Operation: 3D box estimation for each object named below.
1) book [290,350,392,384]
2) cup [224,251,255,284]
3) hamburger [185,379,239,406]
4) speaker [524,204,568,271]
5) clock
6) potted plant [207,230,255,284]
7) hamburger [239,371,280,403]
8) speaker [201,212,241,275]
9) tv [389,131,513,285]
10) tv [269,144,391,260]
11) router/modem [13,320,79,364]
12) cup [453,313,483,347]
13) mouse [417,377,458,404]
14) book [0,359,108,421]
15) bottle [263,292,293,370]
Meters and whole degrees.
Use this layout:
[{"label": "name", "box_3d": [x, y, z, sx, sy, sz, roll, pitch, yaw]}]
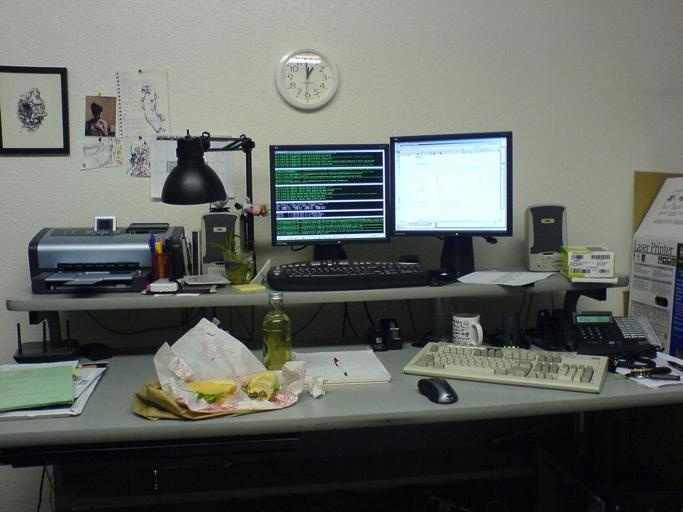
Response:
[{"label": "book", "box_3d": [-0.010, 0.396, 2.193, 0.313, 0.026, 0.334, -2, 12, -11]}, {"label": "cup", "box_3d": [-0.409, 0.050, 2.434, 0.116, 0.132, 0.117, 0, -4, 0]}, {"label": "hamburger", "box_3d": [-0.419, 0.426, 1.934, 0.156, 0.049, 0.135, -3, 12, -14]}, {"label": "speaker", "box_3d": [0.882, -0.063, 2.571, 0.162, 0.278, 0.164, -1, -10, 12]}, {"label": "clock", "box_3d": [-0.164, -0.762, 2.595, 0.265, 0.263, 0.032, 1, 1, -5]}, {"label": "potted plant", "box_3d": [-0.411, 0.003, 2.374, 0.187, 0.265, 0.190, -2, 1, -2]}, {"label": "hamburger", "box_3d": [-0.272, 0.421, 1.965, 0.133, 0.058, 0.120, 2, 12, 11]}, {"label": "speaker", "box_3d": [-0.519, -0.068, 2.508, 0.171, 0.274, 0.165, -3, 20, -27]}, {"label": "tv", "box_3d": [0.468, -0.209, 2.539, 0.498, 0.586, 0.186, 1, 7, 18]}, {"label": "tv", "box_3d": [-0.051, -0.240, 2.461, 0.478, 0.490, 0.157, -1, 2, -5]}, {"label": "router/modem", "box_3d": [-1.148, 0.321, 2.330, 0.235, 0.135, 0.236, -1, 7, -34]}, {"label": "cup", "box_3d": [0.506, 0.302, 2.342, 0.101, 0.118, 0.162, -3, 7, -12]}, {"label": "mouse", "box_3d": [0.310, 0.432, 1.973, 0.087, 0.061, 0.153, -6, 13, -28]}, {"label": "book", "box_3d": [-0.926, 0.420, 1.914, 0.195, 0.023, 0.209, -2, 19, -11]}, {"label": "bottle", "box_3d": [-0.238, 0.263, 2.150, 0.095, 0.262, 0.123, -2, 12, -11]}]
